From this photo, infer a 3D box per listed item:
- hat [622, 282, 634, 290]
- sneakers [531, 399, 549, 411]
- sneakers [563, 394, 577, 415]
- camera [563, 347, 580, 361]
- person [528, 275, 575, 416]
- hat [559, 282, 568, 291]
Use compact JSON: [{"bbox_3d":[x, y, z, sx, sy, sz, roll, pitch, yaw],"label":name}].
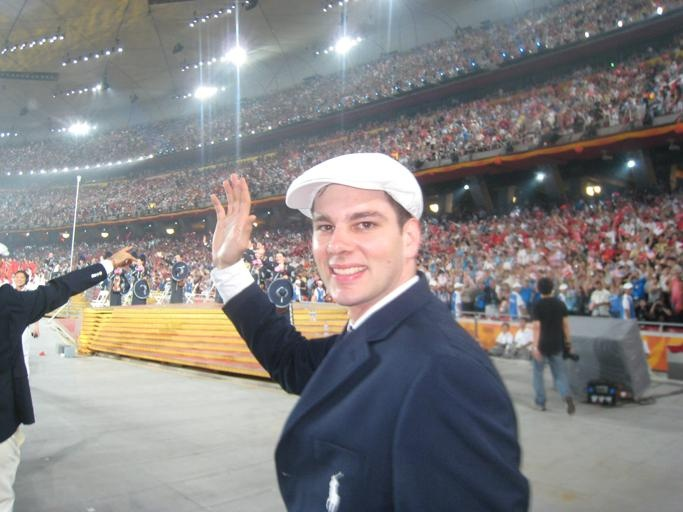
[{"bbox_3d":[6.622,0.634,11.454,0.199,0.150,0.283,1,3,30],"label":"hat"},{"bbox_3d":[3.148,2.248,7.908,0.110,0.230,0.214,-1,12,-41],"label":"sneakers"},{"bbox_3d":[3.510,2.174,7.640,0.132,0.321,0.142,-7,-12,15],"label":"sneakers"},{"bbox_3d":[3.645,1.491,7.907,0.250,0.172,0.225,2,1,-31],"label":"camera"},{"bbox_3d":[3.375,1.326,7.908,0.640,2.006,0.643,1,3,25],"label":"person"},{"bbox_3d":[5.689,0.734,12.737,0.160,0.050,0.165,-34,3,19],"label":"hat"}]
